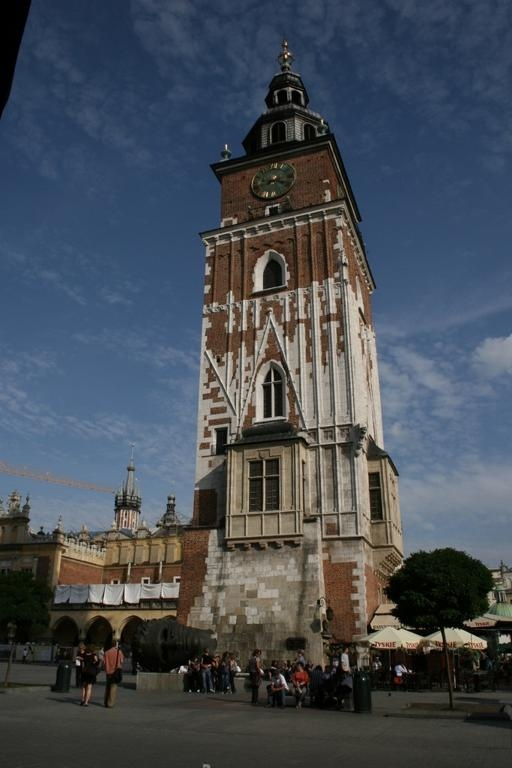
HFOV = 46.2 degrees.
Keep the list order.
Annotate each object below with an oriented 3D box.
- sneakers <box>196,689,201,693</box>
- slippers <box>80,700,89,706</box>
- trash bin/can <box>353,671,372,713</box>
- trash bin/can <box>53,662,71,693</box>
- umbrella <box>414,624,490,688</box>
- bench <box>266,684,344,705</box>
[{"bbox_3d":[-1.903,10.096,19.650,0.059,0.071,0.254,-13,-19,-27],"label":"sneakers"},{"bbox_3d":[-4.092,7.627,14.257,0.101,0.107,0.286,16,-26,-22],"label":"slippers"},{"bbox_3d":[2.552,7.474,14.463,0.418,0.896,0.625,-1,-22,8],"label":"trash bin/can"},{"bbox_3d":[-5.933,8.965,18.291,0.458,0.839,0.917,8,-23,-15],"label":"trash bin/can"},{"bbox_3d":[7.167,9.994,22.579,1.632,1.219,1.752,-14,-22,32],"label":"umbrella"},{"bbox_3d":[1.424,8.396,16.165,2.180,0.630,1.538,-3,-21,10],"label":"bench"}]
